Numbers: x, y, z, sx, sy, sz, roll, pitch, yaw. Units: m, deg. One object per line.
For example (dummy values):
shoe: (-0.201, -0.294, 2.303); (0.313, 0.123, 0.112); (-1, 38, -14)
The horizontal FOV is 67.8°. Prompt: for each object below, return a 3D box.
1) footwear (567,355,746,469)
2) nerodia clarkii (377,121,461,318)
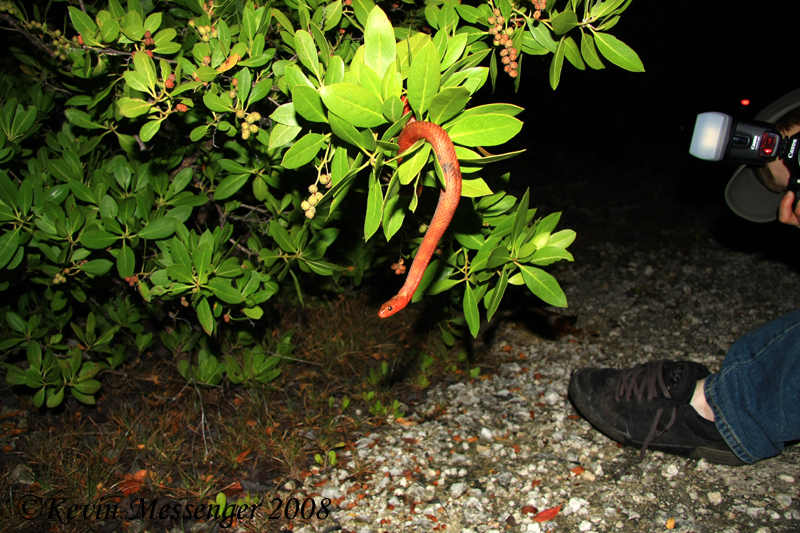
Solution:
footwear: (1.802, 0.982, 4.298); (1.137, 0.521, 0.500); (11, 58, 38)
nerodia clarkii: (0.114, -0.207, 3.297); (0.394, 1.152, 0.285); (7, 34, 4)
